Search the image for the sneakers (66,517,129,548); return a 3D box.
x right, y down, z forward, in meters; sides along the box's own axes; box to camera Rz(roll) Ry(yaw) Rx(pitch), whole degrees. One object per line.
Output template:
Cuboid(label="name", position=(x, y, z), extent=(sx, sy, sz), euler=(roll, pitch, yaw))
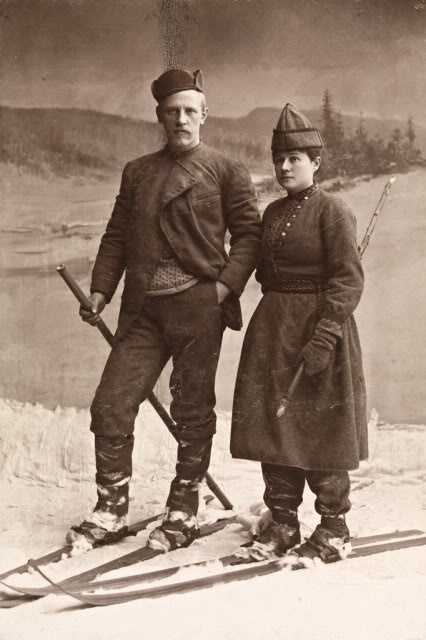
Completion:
Cuboid(label="sneakers", position=(-0.432, 0.800, 3.509), extent=(0.093, 0.056, 0.160), euler=(-25, -20, 37))

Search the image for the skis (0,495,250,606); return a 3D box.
Cuboid(label="skis", position=(-0.365, 0.790, 3.256), extent=(0.229, 0.041, 0.865), euler=(-2, -1, 41))

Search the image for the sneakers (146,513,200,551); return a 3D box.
Cuboid(label="sneakers", position=(-0.151, 0.804, 3.539), extent=(0.101, 0.063, 0.165), euler=(-2, 2, 30))

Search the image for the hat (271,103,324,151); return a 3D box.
Cuboid(label="hat", position=(0.307, -0.702, 3.420), extent=(0.169, 0.188, 0.119), euler=(-1, 5, -38))

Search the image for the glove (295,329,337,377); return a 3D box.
Cuboid(label="glove", position=(0.376, 0.115, 3.329), extent=(0.138, 0.156, 0.059), euler=(3, 4, 5))

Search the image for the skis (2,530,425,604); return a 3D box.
Cuboid(label="skis", position=(0.057, 0.839, 3.199), extent=(1.593, 0.061, 0.296), euler=(0, 4, -29))
